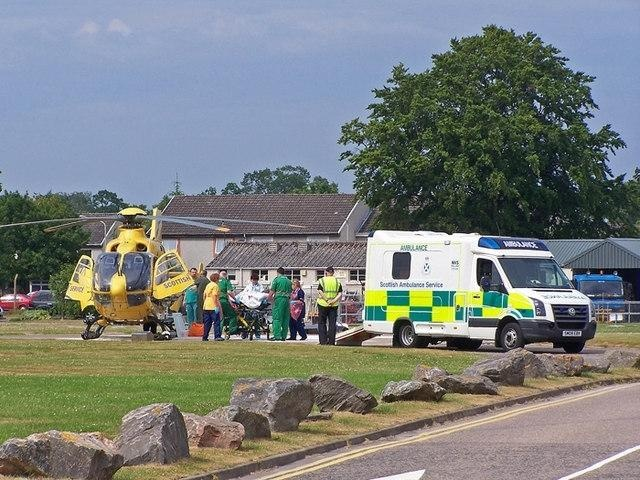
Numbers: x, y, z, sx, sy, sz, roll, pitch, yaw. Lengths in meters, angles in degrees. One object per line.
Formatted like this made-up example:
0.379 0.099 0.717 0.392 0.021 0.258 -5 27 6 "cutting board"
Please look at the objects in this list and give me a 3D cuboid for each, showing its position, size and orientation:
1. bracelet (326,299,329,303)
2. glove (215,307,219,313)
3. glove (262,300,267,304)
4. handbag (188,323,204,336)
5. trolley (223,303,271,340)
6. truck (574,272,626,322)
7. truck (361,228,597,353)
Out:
0.207 1.768 31.100 0.093 0.091 0.043 0 -7 -9 "bracelet"
-3.220 2.168 33.264 0.109 0.164 0.160 2 -28 -4 "glove"
-1.861 2.045 35.583 0.123 0.126 0.030 4 -4 19 "glove"
-4.169 2.981 35.610 0.437 0.315 0.456 -1 -1 8 "handbag"
-2.496 2.749 35.937 1.466 1.112 1.134 0 1 3 "trolley"
12.856 2.611 48.859 2.090 2.700 4.394 0 -7 2 "truck"
4.333 1.340 30.748 6.200 3.742 1.828 -6 -8 37 "truck"
